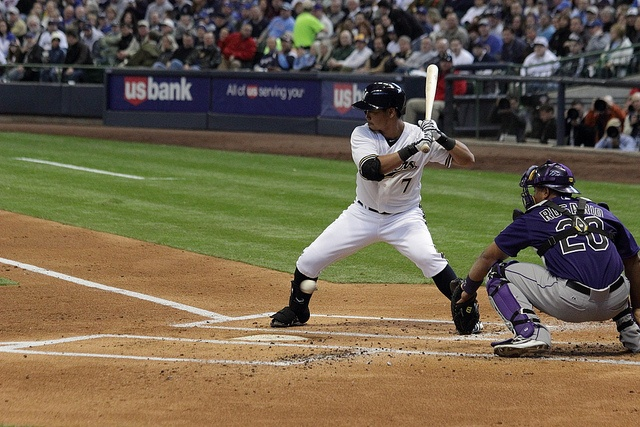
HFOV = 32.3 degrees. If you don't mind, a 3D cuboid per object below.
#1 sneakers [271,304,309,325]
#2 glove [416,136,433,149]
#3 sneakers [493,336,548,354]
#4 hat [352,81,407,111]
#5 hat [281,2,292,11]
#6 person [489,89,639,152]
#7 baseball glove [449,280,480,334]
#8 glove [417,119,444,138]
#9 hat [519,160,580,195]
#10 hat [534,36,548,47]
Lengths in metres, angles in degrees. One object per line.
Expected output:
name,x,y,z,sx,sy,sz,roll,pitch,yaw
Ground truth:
sneakers,-0.378,1.242,13.375,0.435,0.150,0.209,1,1,-18
glove,1.197,-0.804,12.644,0.178,0.199,0.147,2,7,8
sneakers,2.214,1.477,12.304,0.640,0.206,0.248,0,35,2
hat,0.725,-1.381,12.871,0.510,0.216,0.346,3,12,-3
hat,-0.770,-4.626,24.728,0.255,0.133,0.362,15,8,6
person,5.008,-1.733,20.574,1.973,1.057,0.480,7,9,42
baseball glove,1.734,1.127,13.045,0.281,0.712,0.317,-7,27,3
glove,1.306,-0.982,12.865,0.272,0.227,0.364,1,7,-1
hat,2.608,-0.428,12.465,0.500,0.245,0.396,11,4,36
hat,4.435,-3.450,22.113,0.260,0.173,0.362,2,-1,15
